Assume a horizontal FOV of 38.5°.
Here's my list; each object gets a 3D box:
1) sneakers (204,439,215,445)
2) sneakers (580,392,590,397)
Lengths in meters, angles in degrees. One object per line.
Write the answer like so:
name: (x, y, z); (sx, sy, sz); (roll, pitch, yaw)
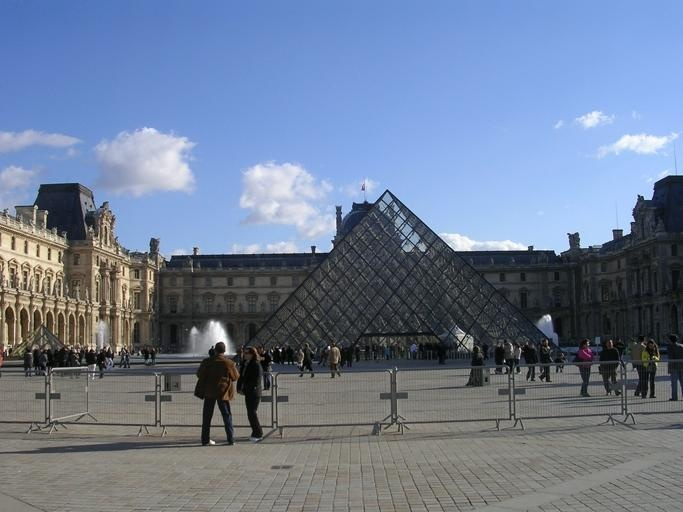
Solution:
sneakers: (-2.115, 3.031, 15.783); (0.190, 0.072, 0.063); (-2, -1, -6)
sneakers: (4.317, 2.472, 17.282); (0.201, 0.133, 0.064); (-1, -3, 2)
